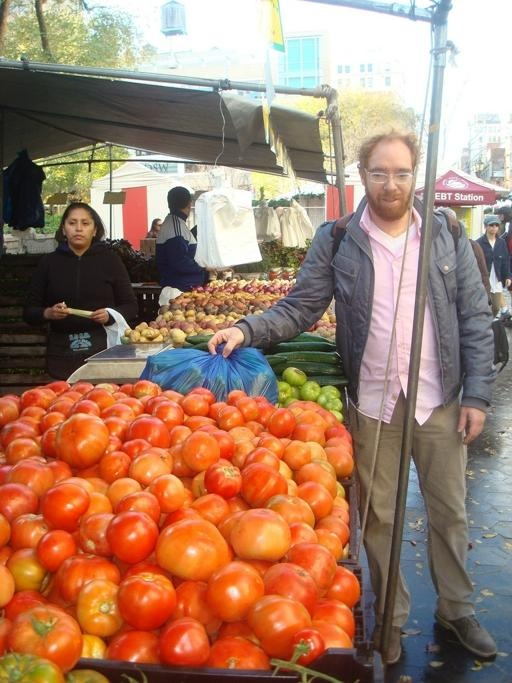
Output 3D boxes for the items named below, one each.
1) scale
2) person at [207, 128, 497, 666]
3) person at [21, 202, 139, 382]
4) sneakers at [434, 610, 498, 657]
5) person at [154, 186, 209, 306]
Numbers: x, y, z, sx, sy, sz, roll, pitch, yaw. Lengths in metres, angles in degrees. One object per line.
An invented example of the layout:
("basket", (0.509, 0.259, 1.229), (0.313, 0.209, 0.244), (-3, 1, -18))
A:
("scale", (-0.953, 0.162, 3.704), (0.420, 0.096, 0.380), (-1, 6, 1))
("person", (0.490, 0.419, 2.735), (1.149, 2.544, 1.143), (0, 4, 10))
("person", (-1.511, -0.445, 4.538), (0.689, 1.730, 0.697), (-1, 3, -19))
("sneakers", (1.059, 1.471, 2.705), (0.250, 0.175, 0.310), (-2, 6, -6))
("person", (-1.156, -1.391, 7.995), (0.703, 1.798, 0.707), (-4, 15, -25))
